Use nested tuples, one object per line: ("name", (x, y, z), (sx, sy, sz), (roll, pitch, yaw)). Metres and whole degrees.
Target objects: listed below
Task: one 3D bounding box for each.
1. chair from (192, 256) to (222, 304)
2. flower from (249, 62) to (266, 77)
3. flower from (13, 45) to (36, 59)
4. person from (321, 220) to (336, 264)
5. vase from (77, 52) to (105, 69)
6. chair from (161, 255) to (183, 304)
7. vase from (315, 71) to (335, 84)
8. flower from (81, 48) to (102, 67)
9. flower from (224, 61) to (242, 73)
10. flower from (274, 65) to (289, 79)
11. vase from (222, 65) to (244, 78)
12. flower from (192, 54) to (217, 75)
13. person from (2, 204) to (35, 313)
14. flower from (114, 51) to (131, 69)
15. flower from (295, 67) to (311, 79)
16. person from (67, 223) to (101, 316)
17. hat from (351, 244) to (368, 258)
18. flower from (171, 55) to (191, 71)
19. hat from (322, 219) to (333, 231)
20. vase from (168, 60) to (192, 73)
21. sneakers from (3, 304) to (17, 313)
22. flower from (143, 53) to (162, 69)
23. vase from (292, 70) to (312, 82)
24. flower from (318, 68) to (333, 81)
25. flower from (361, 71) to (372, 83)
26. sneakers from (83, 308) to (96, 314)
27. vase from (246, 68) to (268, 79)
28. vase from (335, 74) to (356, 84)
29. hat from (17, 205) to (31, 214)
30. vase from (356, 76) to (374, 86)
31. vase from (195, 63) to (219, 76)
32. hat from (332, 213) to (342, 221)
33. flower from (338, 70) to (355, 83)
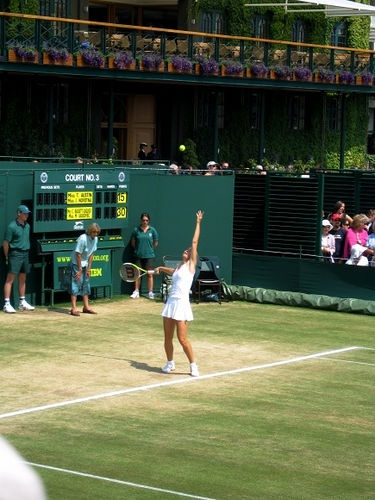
("chair", (0.437, 0.674, 17.670), (0.651, 1.038, 0.624), (-3, 4, -11))
("flower", (2.545, -6.462, 28.802), (0.517, 0.327, 0.516), (-1, 8, -12))
("flower", (-4.555, -5.556, 22.656), (0.363, 0.212, 0.405), (25, 15, 25))
("person", (3.229, -0.188, 18.489), (0.337, 0.931, 1.009), (3, 3, 10))
("vase", (-2.908, -5.704, 24.089), (0.765, 0.448, 0.362), (2, 3, -9))
("chair", (-0.466, 0.632, 17.796), (0.604, 1.133, 0.923), (1, -1, -17))
("vase", (5.337, -6.727, 31.316), (0.550, 0.371, 0.527), (4, 12, 14))
("flower", (-2.871, -5.759, 24.095), (0.543, 0.378, 0.532), (11, 13, 39))
("flower", (1.625, -6.314, 27.912), (0.441, 0.260, 0.446), (-1, 9, 3))
("flower", (3.485, -6.563, 29.648), (0.451, 0.310, 0.450), (1, 4, -2))
("vase", (1.539, -6.244, 27.927), (0.459, 0.257, 0.512), (3, 9, 23))
("flower", (0.631, -6.281, 27.304), (0.681, 0.460, 0.688), (2, 10, 11))
("person", (-3.212, 0.218, 15.130), (0.483, 2.085, 0.771), (2, 3, -13))
("flower", (-1.948, -5.901, 24.937), (0.389, 0.569, 0.686), (4, 4, 31))
("flower", (4.344, -6.636, 30.318), (0.502, 0.360, 0.488), (-10, 16, -38))
("person", (-1.979, 0.401, 15.426), (0.520, 1.796, 0.744), (2, 3, -8))
("hat", (3.676, 0.054, 17.290), (0.325, 0.323, 0.236), (3, 3, 11))
("flower", (-0.141, -6.139, 26.529), (0.347, 0.516, 0.912), (5, 5, 44))
("hat", (3.201, -0.583, 18.525), (0.279, 0.150, 0.217), (1, 1, 18))
("vase", (-0.234, -6.025, 26.421), (0.357, 0.317, 0.718), (0, 5, 23))
("sneakers", (-3.389, 1.142, 15.345), (0.104, 0.134, 0.310), (-1, -4, -28))
("flower", (-1.123, -5.996, 25.603), (0.490, 0.369, 0.493), (7, 14, 39))
("vase", (4.337, -6.580, 30.312), (0.462, 0.345, 0.476), (-5, 11, -20))
("flower", (5.365, -6.797, 31.292), (0.492, 0.300, 0.497), (7, 26, 6))
("flower", (7.341, -7.087, 32.935), (0.451, 0.436, 0.450), (-2, 5, -18))
("sneakers", (-1.913, 1.208, 15.814), (0.264, 0.106, 0.097), (6, -1, 7))
("vase", (2.414, -6.290, 28.901), (0.643, 0.267, 0.330), (-2, 3, -44))
("vase", (6.334, -6.846, 32.128), (0.495, 0.349, 0.504), (3, 7, 25))
("hat", (-3.016, -0.729, 14.839), (0.191, 0.143, 0.223), (1, 4, -16))
("vase", (7.215, -6.881, 32.978), (0.465, 0.277, 0.485), (1, 7, 10))
("vase", (0.733, -6.156, 27.295), (0.477, 0.271, 0.483), (1, 3, 40))
("hat", (3.425, -0.741, 18.347), (0.168, 0.221, 0.214), (-2, 23, -22))
("flower", (6.324, -6.894, 32.082), (0.512, 0.361, 0.518), (3, 7, 26))
